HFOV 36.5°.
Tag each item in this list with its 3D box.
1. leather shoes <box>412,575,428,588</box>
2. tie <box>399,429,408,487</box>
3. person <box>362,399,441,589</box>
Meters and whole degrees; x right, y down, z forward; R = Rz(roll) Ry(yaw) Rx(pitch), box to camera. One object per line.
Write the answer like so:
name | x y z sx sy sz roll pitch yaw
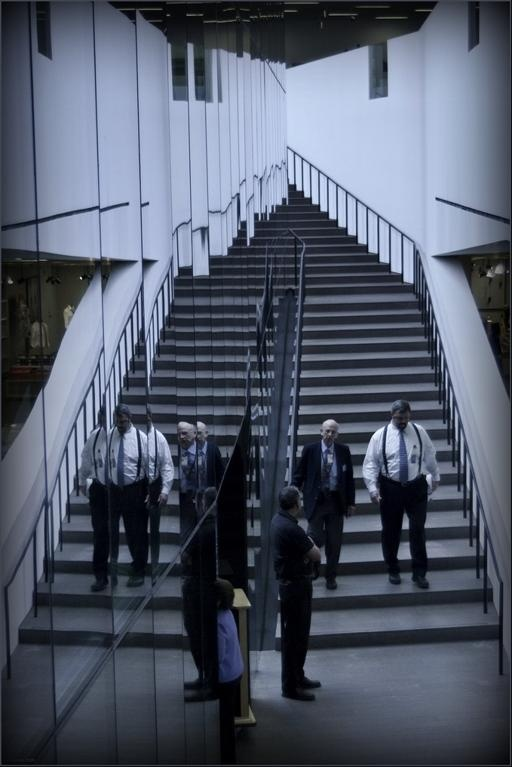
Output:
leather shoes | 1.301 1.567 6.089 0.049 0.096 0.150 -1 1 -6
tie | 1.142 0.572 6.032 0.071 0.352 0.225 1 8 5
person | 1.153 0.850 6.081 0.383 1.580 0.376 -1 17 14
